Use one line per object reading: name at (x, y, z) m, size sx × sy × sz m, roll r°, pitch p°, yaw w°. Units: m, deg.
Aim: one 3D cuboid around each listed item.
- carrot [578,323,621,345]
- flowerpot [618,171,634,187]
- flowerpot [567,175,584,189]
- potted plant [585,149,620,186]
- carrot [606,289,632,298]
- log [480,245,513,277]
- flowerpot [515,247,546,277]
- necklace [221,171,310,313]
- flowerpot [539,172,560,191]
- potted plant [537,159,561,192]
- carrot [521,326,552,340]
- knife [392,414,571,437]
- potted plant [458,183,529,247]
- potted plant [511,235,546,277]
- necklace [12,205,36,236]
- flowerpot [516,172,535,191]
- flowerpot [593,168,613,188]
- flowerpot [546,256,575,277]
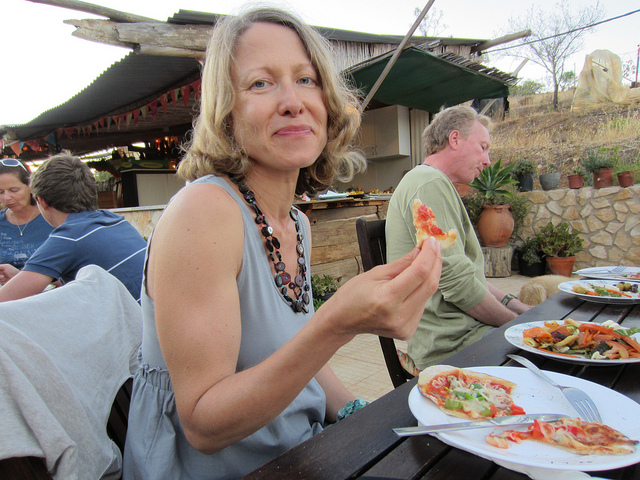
carrot at (0.973, 0.331, 1.399) m, size 0.080 × 0.028 × 0.072 m, roll -11°, pitch 18°, yaw 20°
flowerpot at (5.115, -1.032, 6.687) m, size 0.224 × 0.178 × 0.239 m, roll -2°, pitch 1°, yaw 9°
flowerpot at (4.620, -1.050, 7.228) m, size 0.240 × 0.180 × 0.250 m, roll -1°, pitch 1°, yaw 4°
potted plant at (5.012, -1.264, 7.040) m, size 0.488 × 0.620 × 0.548 m, roll 1°, pitch 4°, yaw 17°
carrot at (1.464, 0.261, 1.953) m, size 0.098 × 0.017 × 0.022 m, roll 8°, pitch 25°, yaw 16°
log at (2.859, 0.337, 6.440) m, size 0.472 × 0.475 × 0.501 m, roll 3°, pitch 9°, yaw 35°
flowerpot at (3.672, 0.370, 6.954) m, size 0.465 × 0.482 × 0.366 m, roll 3°, pitch 12°, yaw 30°
necklace at (-0.166, -0.031, 1.403) m, size 0.256 × 0.511 × 0.235 m, roll -10°, pitch 17°, yaw -42°
flowerpot at (4.257, -1.071, 7.477) m, size 0.338 × 0.301 × 0.356 m, roll -2°, pitch -3°, yaw -2°
potted plant at (4.329, -1.117, 7.528) m, size 0.418 × 0.336 × 0.403 m, roll -14°, pitch 9°, yaw -24°
carrot at (0.797, 0.347, 1.471) m, size 0.058 × 0.018 × 0.054 m, roll -5°, pitch 7°, yaw 4°
knife at (0.414, 0.461, 0.987) m, size 0.531 × 0.026 × 0.073 m, roll 0°, pitch -6°, yaw -9°
potted plant at (3.073, -0.583, 7.028) m, size 1.112 × 1.297 × 0.976 m, roll -3°, pitch 5°, yaw 3°
potted plant at (3.644, 0.320, 7.114) m, size 0.565 × 0.452 × 0.602 m, roll 0°, pitch -1°, yaw 3°
necklace at (-2.913, -0.151, 3.915) m, size 0.166 × 0.210 × 0.059 m, roll -5°, pitch 11°, yaw -8°
flowerpot at (3.953, -1.118, 7.611) m, size 0.305 × 0.270 × 0.334 m, roll 0°, pitch -1°, yaw 2°
flowerpot at (4.957, -1.074, 7.071) m, size 0.350 × 0.298 × 0.348 m, roll -2°, pitch 2°, yaw -37°
flowerpot at (3.987, 0.436, 6.711) m, size 0.456 × 0.329 × 0.447 m, roll 0°, pitch -2°, yaw 1°
